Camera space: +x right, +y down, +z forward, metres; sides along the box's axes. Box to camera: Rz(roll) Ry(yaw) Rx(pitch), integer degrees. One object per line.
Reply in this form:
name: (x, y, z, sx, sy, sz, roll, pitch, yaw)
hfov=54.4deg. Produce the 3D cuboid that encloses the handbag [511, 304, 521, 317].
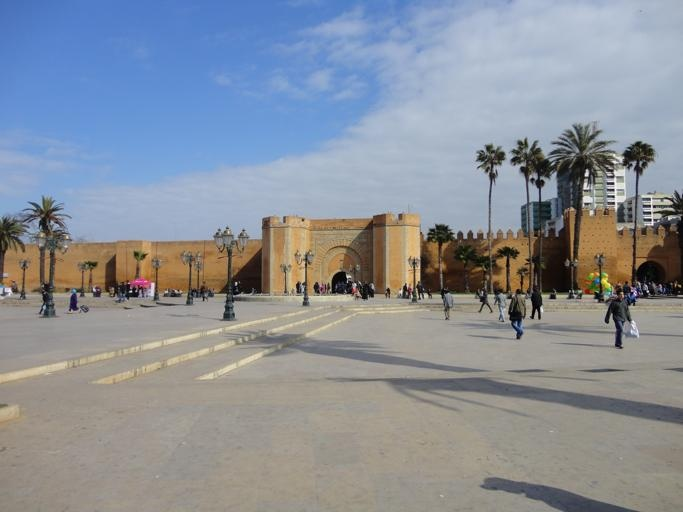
handbag: (4.153, 1.286, 15.711, 0.259, 0.263, 0.145, 7, 6, 44)

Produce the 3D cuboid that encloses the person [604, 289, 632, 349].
person: (6.118, 1.346, 14.628, 0.489, 1.199, 1.689, 0, 0, 22)

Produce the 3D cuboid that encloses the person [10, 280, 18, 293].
person: (-26.241, 2.464, 53.331, 0.814, 0.988, 0.972, -1, 2, -21)
